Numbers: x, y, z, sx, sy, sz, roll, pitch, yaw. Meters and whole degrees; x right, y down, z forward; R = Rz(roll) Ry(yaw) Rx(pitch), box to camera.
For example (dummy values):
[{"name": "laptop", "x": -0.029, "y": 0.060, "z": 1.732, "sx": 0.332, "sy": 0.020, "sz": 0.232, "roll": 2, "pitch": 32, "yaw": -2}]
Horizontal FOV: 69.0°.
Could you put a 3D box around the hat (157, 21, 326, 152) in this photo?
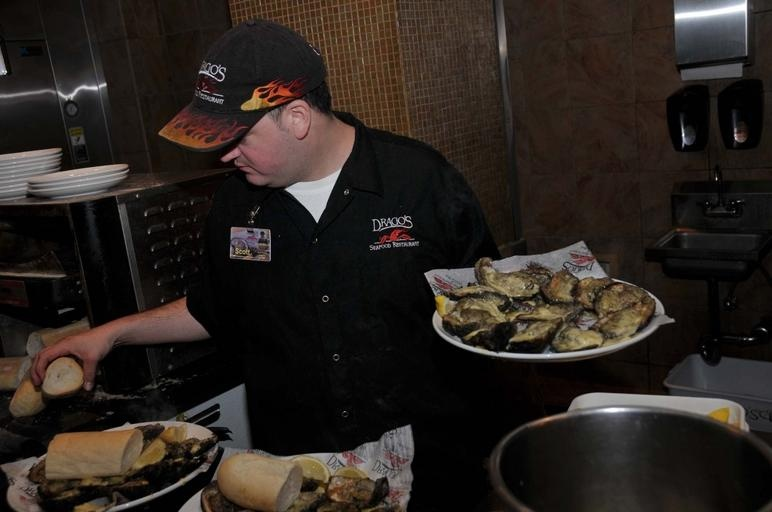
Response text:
[{"name": "hat", "x": -0.380, "y": -0.493, "z": 1.693, "sx": 0.494, "sy": 0.243, "sz": 0.313, "roll": -36, "pitch": 54, "yaw": -26}]

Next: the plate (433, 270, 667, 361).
[{"name": "plate", "x": 0.421, "y": 0.175, "z": 1.411, "sx": 0.574, "sy": 0.095, "sz": 0.259, "roll": -5, "pitch": 16, "yaw": -6}]

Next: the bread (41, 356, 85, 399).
[{"name": "bread", "x": -1.052, "y": 0.399, "z": 1.854, "sx": 0.131, "sy": 0.128, "sz": 0.076, "roll": 0, "pitch": -21, "yaw": -4}]

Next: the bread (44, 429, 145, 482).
[{"name": "bread", "x": -0.781, "y": 0.526, "z": 1.506, "sx": 0.239, "sy": 0.099, "sz": 0.101, "roll": -4, "pitch": 16, "yaw": -1}]

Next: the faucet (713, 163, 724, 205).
[{"name": "faucet", "x": 1.783, "y": -0.382, "z": 3.024, "sx": 0.053, "sy": 0.204, "sz": 0.182, "roll": 4, "pitch": 18, "yaw": 27}]

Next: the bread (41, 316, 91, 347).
[{"name": "bread", "x": -1.163, "y": 0.275, "z": 2.031, "sx": 0.045, "sy": 0.050, "sz": 0.194, "roll": 28, "pitch": 41, "yaw": 33}]
